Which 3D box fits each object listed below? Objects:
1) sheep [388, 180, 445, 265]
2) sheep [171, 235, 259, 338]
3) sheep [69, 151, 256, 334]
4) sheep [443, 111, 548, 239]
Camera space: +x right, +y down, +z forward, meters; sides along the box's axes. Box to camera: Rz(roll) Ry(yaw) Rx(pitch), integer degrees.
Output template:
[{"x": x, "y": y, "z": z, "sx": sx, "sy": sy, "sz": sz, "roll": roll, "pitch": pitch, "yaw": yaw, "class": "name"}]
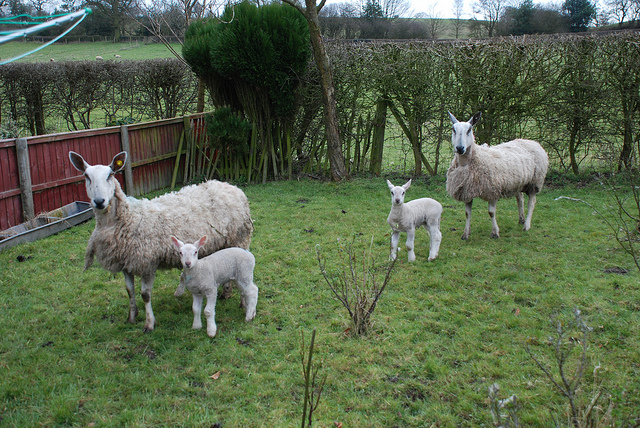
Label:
[{"x": 2.131, "y": 0.185, "z": 10.992, "sx": 2.113, "sy": 1.807, "sz": 0.614, "roll": 0, "pitch": 5, "yaw": -45, "class": "sheep"}, {"x": -1.720, "y": 1.259, "z": 9.127, "sx": 0.647, "sy": 1.831, "sz": 1.899, "roll": 2, "pitch": 5, "yaw": 35, "class": "sheep"}, {"x": -2.815, "y": 0.497, "z": 9.943, "sx": 1.673, "sy": 3.301, "sz": 3.588, "roll": 12, "pitch": 12, "yaw": 39, "class": "sheep"}, {"x": 4.287, "y": -1.040, "z": 12.544, "sx": 3.153, "sy": 3.220, "sz": 1.628, "roll": -7, "pitch": 13, "yaw": -23, "class": "sheep"}]
